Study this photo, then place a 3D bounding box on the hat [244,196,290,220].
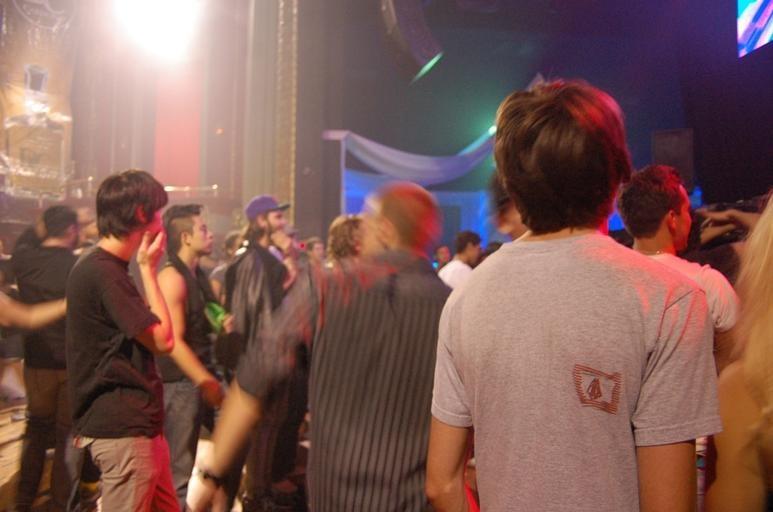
[{"bbox_3d":[-1.137,-0.475,6.139,0.352,0.193,0.248,-14,2,-11],"label":"hat"}]
